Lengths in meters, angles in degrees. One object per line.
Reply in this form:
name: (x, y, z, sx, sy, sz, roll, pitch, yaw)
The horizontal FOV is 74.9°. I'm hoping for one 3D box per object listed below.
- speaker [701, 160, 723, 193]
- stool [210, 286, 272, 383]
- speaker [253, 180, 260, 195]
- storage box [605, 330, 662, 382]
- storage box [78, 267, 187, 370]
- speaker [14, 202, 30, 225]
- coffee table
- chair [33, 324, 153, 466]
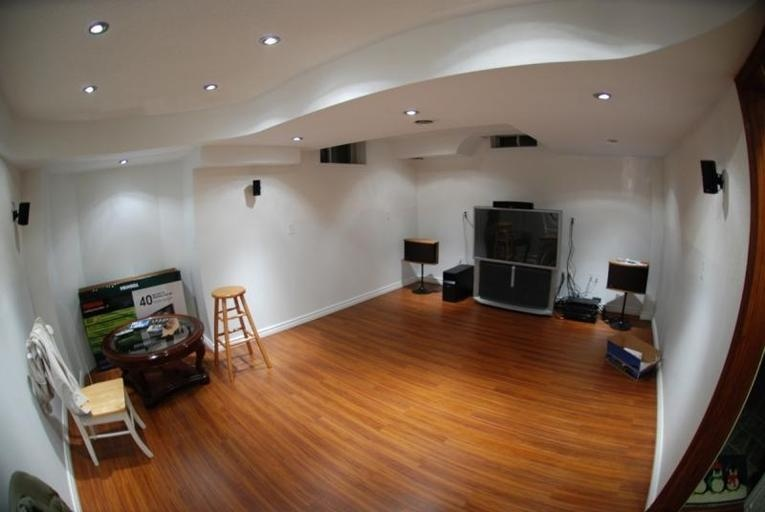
speaker: (2.594, -0.622, 3.930, 0.147, 0.259, 0.253, 3, 7, 30)
stool: (-1.778, 0.985, 6.169, 0.629, 1.101, 0.629, -15, 23, -26)
speaker: (-1.617, -0.879, 6.446, 0.130, 0.199, 0.125, -4, 7, -27)
storage box: (2.861, 1.128, 5.671, 0.337, 0.322, 0.486, -15, 30, -23)
storage box: (-2.979, 0.751, 5.823, 0.959, 0.882, 0.310, -21, 13, -32)
speaker: (-3.274, -0.386, 4.528, 0.105, 0.184, 0.210, -4, 7, -30)
coffee table: (-2.486, 1.122, 5.641, 1.005, 0.687, 1.040, 19, 32, 36)
chair: (-2.690, 1.275, 4.588, 0.684, 1.396, 0.612, -12, 23, -20)
